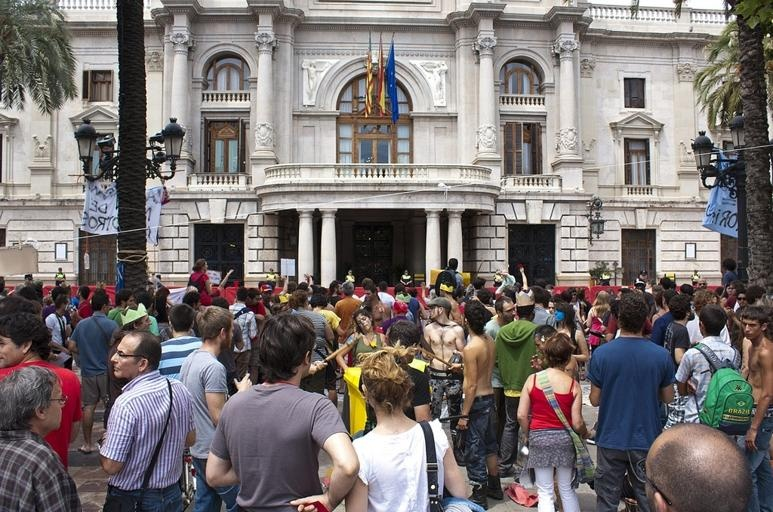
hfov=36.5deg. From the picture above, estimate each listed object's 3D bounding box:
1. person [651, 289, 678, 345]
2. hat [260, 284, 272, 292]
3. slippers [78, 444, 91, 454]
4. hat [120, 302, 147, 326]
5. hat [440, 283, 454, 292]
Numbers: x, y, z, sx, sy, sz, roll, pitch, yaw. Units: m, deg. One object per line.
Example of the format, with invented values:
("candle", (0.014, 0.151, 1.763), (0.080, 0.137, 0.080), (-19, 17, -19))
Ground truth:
("person", (8.559, 1.820, 36.508), (0.658, 2.158, 0.952), (-16, 27, -8))
("hat", (-4.212, 1.116, 40.692), (0.369, 0.200, 0.248), (-10, -6, 28))
("slippers", (-9.467, 6.049, 36.816), (0.227, 0.313, 0.440), (9, 6, -27))
("hat", (-7.762, 1.839, 35.836), (0.786, 0.349, 0.615), (-24, 5, 43))
("hat", (1.989, 1.080, 38.820), (0.398, 0.250, 0.671), (0, -3, 0))
